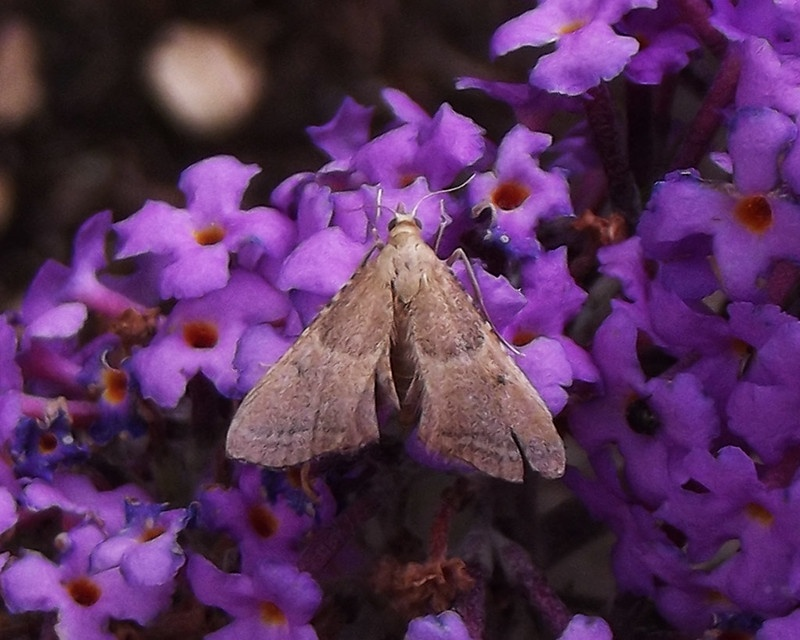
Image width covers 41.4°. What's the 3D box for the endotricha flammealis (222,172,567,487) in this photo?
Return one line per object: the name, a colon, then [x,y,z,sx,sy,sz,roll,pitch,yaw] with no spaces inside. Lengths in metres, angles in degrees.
endotricha flammealis: [0.002,0.034,0.734,0.192,0.056,0.235,3,82,9]
